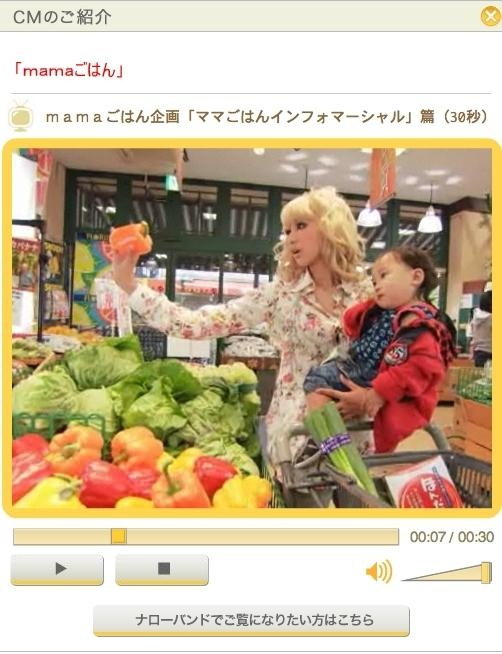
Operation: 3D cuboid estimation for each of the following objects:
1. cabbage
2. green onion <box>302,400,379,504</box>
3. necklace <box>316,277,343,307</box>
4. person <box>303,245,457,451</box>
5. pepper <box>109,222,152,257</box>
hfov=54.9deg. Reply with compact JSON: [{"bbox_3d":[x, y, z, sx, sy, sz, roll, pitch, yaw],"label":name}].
[{"bbox_3d":[-0.302,0.212,1.410,0.529,0.238,0.445,2,0,-4],"label":"cabbage"},{"bbox_3d":[0.169,0.245,1.002,0.083,0.247,0.059,-33,-52,9],"label":"green onion"},{"bbox_3d":[0.253,-0.109,1.520,0.091,0.079,0.033,2,-4,-7],"label":"necklace"},{"bbox_3d":[0.386,0.017,1.700,0.595,0.892,0.563,3,7,5],"label":"person"},{"bbox_3d":[-0.381,-0.279,1.545,0.116,0.150,0.231,0,-3,-12],"label":"pepper"}]
